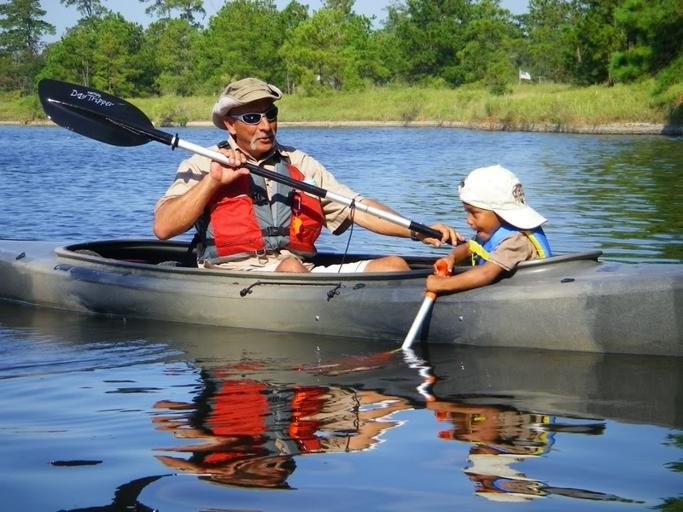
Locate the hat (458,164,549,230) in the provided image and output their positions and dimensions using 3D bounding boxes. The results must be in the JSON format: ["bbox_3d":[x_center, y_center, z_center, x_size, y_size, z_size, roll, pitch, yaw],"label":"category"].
[{"bbox_3d":[0.934,-0.346,5.547,0.612,0.241,0.322,15,14,10],"label":"hat"}]

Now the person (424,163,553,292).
[{"bbox_3d":[0.916,-0.214,5.872,1.086,0.826,0.725,-1,16,4],"label":"person"}]

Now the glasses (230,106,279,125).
[{"bbox_3d":[-0.517,-0.837,5.889,0.202,0.042,0.192,-1,8,43],"label":"glasses"}]

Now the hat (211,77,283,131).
[{"bbox_3d":[-0.593,-0.957,5.979,0.433,0.309,0.366,-2,6,-5],"label":"hat"}]
